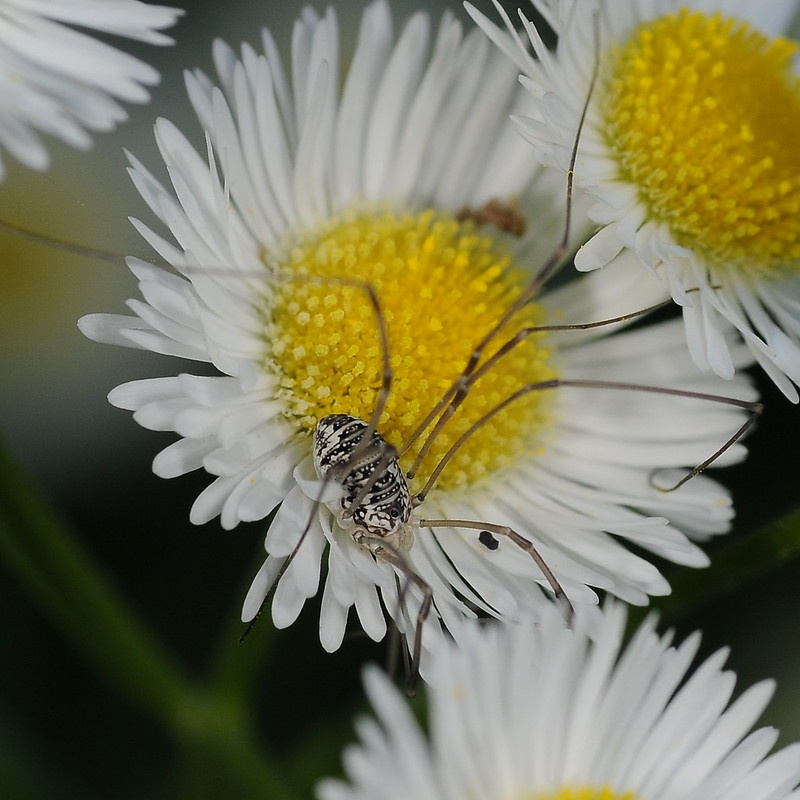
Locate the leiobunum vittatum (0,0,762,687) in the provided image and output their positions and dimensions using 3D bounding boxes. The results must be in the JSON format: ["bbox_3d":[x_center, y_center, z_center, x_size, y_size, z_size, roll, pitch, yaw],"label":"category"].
[{"bbox_3d":[-0.049,-0.027,0.951,0.549,0.241,0.613,-17,78,-32],"label":"leiobunum vittatum"}]
